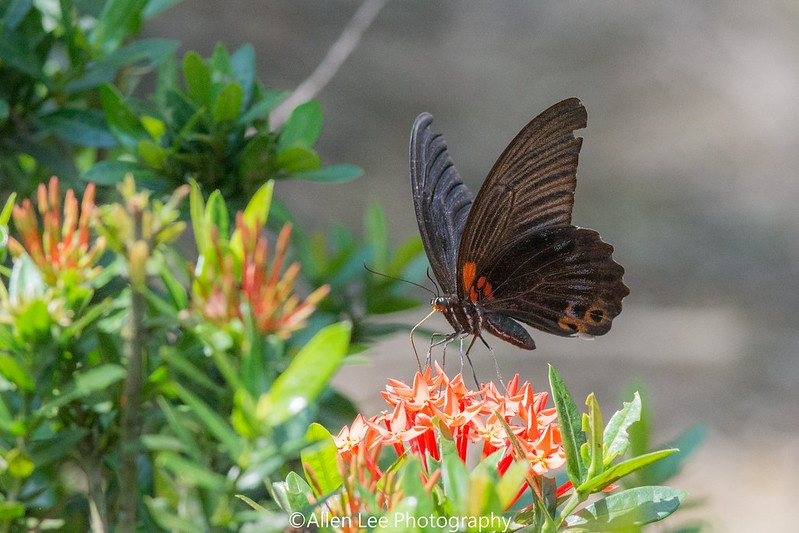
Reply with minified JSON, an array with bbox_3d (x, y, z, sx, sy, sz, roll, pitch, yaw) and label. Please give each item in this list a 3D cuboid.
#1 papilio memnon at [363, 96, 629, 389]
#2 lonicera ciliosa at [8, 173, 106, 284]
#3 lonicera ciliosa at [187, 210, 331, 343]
[{"bbox_3d":[0.364,-0.074,2.870,0.619,0.545,0.859,-15,-39,10],"label":"papilio memnon"},{"bbox_3d":[-0.766,-0.067,2.091,0.187,0.176,0.361,6,-78,22],"label":"lonicera ciliosa"},{"bbox_3d":[-0.304,0.008,1.964,0.281,0.257,0.218,4,-39,-14],"label":"lonicera ciliosa"}]
